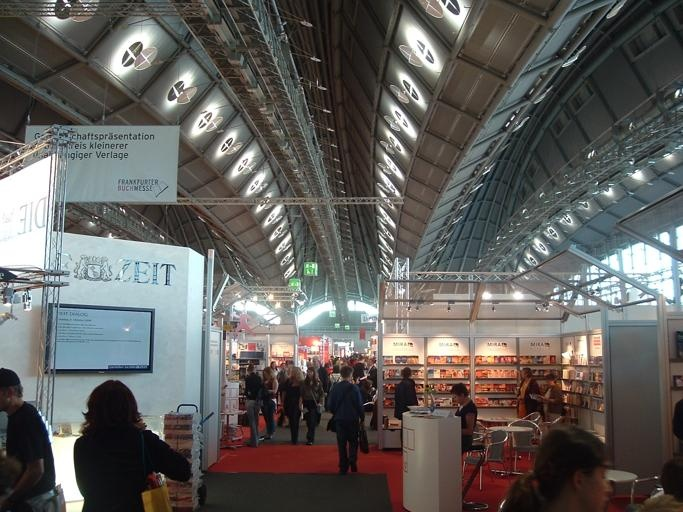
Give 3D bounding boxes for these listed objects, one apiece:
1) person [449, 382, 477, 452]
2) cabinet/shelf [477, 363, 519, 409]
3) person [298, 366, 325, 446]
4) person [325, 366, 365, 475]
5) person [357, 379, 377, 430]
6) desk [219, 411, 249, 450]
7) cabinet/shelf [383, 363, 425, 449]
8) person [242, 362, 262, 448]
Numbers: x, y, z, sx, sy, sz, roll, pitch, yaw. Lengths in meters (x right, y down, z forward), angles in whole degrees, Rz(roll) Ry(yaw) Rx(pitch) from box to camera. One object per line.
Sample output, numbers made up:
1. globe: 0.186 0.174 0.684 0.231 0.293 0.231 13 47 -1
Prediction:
1. person: 1.807 2.383 7.154 0.325 1.001 1.214 -2 -15 13
2. cabinet/shelf: 3.701 3.137 11.593 0.915 0.988 0.320 1 -12 -2
3. person: -0.697 3.462 11.493 0.502 1.700 1.167 2 -14 -3
4. person: 0.067 2.790 8.443 0.604 1.757 0.691 -1 -13 7
5. person: 0.796 3.881 13.064 0.635 1.278 0.622 0 6 -12
6. desk: -2.433 3.877 10.878 0.871 0.978 0.915 2 -13 -13
7. cabinet/shelf: 1.170 3.080 10.137 0.401 1.572 0.524 16 8 44
8. person: -1.978 3.265 10.811 0.361 1.743 0.859 4 -14 -10
